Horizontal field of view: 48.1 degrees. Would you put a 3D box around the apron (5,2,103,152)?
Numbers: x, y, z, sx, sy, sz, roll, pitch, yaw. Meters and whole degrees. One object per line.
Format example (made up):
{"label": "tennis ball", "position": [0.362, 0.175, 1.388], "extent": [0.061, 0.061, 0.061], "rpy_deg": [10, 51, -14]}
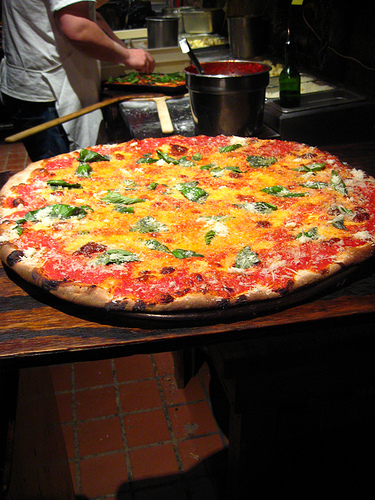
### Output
{"label": "apron", "position": [-0.470, -0.827, 2.050], "extent": [0.427, 0.649, 0.511], "rpy_deg": [-7, 31, -10]}

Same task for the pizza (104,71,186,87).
{"label": "pizza", "position": [-0.252, -0.972, 2.381], "extent": [0.516, 0.046, 0.425], "rpy_deg": [4, 30, 6]}

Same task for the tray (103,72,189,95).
{"label": "tray", "position": [-0.211, -0.860, 2.132], "extent": [0.511, 0.044, 0.411], "rpy_deg": [4, 28, 4]}

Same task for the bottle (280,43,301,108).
{"label": "bottle", "position": [0.404, -0.680, 1.633], "extent": [0.089, 0.242, 0.261], "rpy_deg": [5, 40, 12]}
